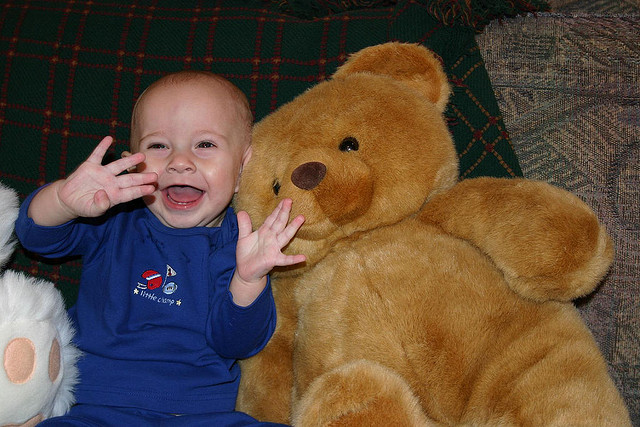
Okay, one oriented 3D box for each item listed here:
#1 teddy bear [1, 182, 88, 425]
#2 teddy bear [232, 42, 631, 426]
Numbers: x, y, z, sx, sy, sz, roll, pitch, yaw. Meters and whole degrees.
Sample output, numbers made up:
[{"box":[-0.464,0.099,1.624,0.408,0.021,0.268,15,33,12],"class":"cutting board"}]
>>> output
[{"box":[-0.606,0.204,1.504,0.181,0.262,0.384,-20,64,-16],"class":"teddy bear"},{"box":[0.257,0.074,1.518,0.611,0.657,0.449,-32,-7,4],"class":"teddy bear"}]
